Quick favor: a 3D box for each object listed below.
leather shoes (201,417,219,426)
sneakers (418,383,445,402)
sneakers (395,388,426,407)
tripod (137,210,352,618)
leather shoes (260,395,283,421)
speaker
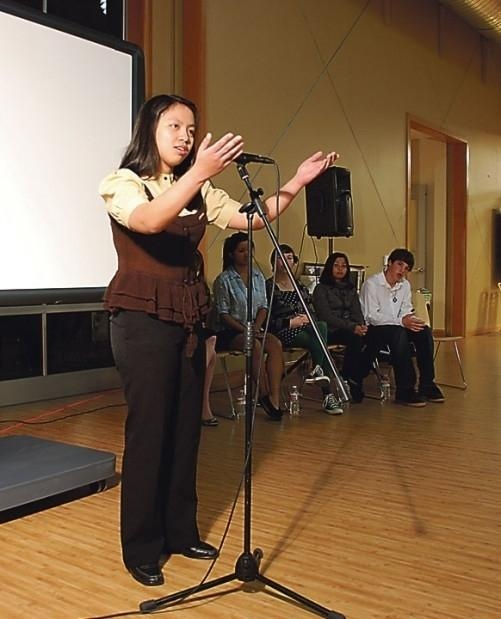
[{"bbox_3d":[-0.241,0.666,3.289,0.106,0.030,0.042,-3,-3,26],"label":"leather shoes"},{"bbox_3d":[1.335,0.628,4.148,0.090,0.121,0.269,0,-3,-33],"label":"sneakers"},{"bbox_3d":[1.135,0.648,4.012,0.089,0.118,0.258,1,-6,-45],"label":"sneakers"},{"bbox_3d":[0.027,0.267,1.442,0.453,0.916,0.634,1,5,12],"label":"tripod"},{"bbox_3d":[0.124,0.627,3.512,0.056,0.172,0.094,-30,-9,-4],"label":"leather shoes"},{"bbox_3d":[0.784,-1.057,5.499,0.440,0.683,0.485,-3,6,5],"label":"speaker"}]
